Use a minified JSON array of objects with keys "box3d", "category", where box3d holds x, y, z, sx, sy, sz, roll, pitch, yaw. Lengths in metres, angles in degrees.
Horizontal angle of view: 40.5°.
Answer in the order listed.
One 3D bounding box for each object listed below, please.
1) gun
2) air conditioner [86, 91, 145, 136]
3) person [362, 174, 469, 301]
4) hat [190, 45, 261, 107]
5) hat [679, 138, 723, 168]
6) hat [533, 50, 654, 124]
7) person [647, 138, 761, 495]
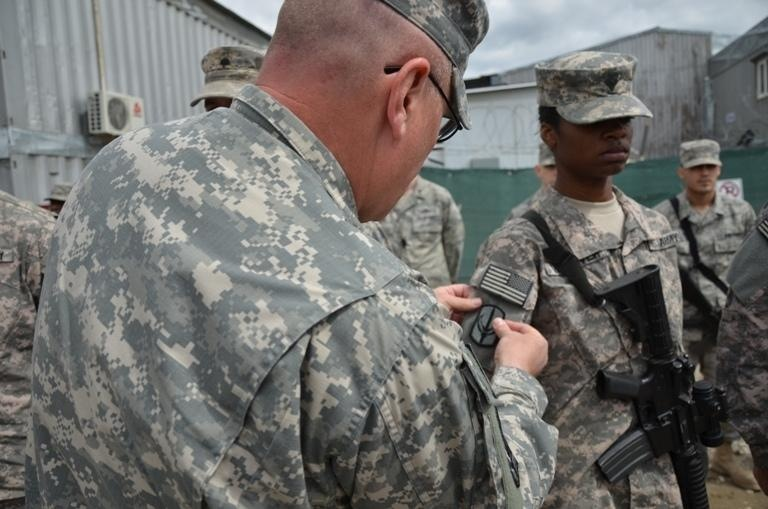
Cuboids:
[{"box3d":[1.500,0.718,5.642,0.740,1.306,0.307,0,5,0],"category":"gun"},{"box3d":[-2.187,-1.155,8.619,0.160,0.350,0.542,-4,0,23],"category":"air conditioner"},{"box3d":[0.276,-0.072,9.309,0.900,1.264,0.446,2,12,7],"category":"person"},{"box3d":[-1.036,-1.246,6.986,0.456,0.267,0.493,-3,11,7],"category":"hat"},{"box3d":[2.506,-0.803,8.345,0.306,0.197,0.446,1,13,13],"category":"hat"},{"box3d":[1.206,-0.980,6.035,0.553,0.379,0.742,-11,19,-20],"category":"hat"},{"box3d":[2.588,0.472,8.385,0.889,2.705,0.758,-2,1,3],"category":"person"}]
